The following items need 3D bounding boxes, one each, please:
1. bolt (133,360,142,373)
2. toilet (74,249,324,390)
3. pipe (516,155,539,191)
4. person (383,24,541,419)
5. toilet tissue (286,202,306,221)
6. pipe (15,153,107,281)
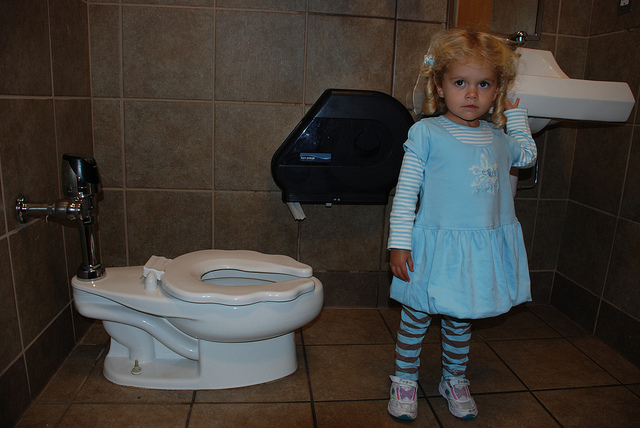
[{"bbox_3d":[-0.762,0.638,2.167,0.035,0.037,0.035,0,-2,-3],"label":"bolt"},{"bbox_3d":[-0.489,0.460,2.293,1.000,0.476,0.513,3,22,-4],"label":"toilet"},{"bbox_3d":[1.045,-0.186,2.598,0.096,0.170,0.205,3,15,21],"label":"pipe"},{"bbox_3d":[0.572,-0.027,2.198,0.632,1.514,0.905,3,15,22],"label":"person"},{"bbox_3d":[-0.119,-0.019,2.498,0.083,0.105,0.102,-4,14,-3],"label":"toilet tissue"},{"bbox_3d":[-1.060,0.018,2.123,0.344,0.500,0.187,-3,5,2],"label":"pipe"}]
